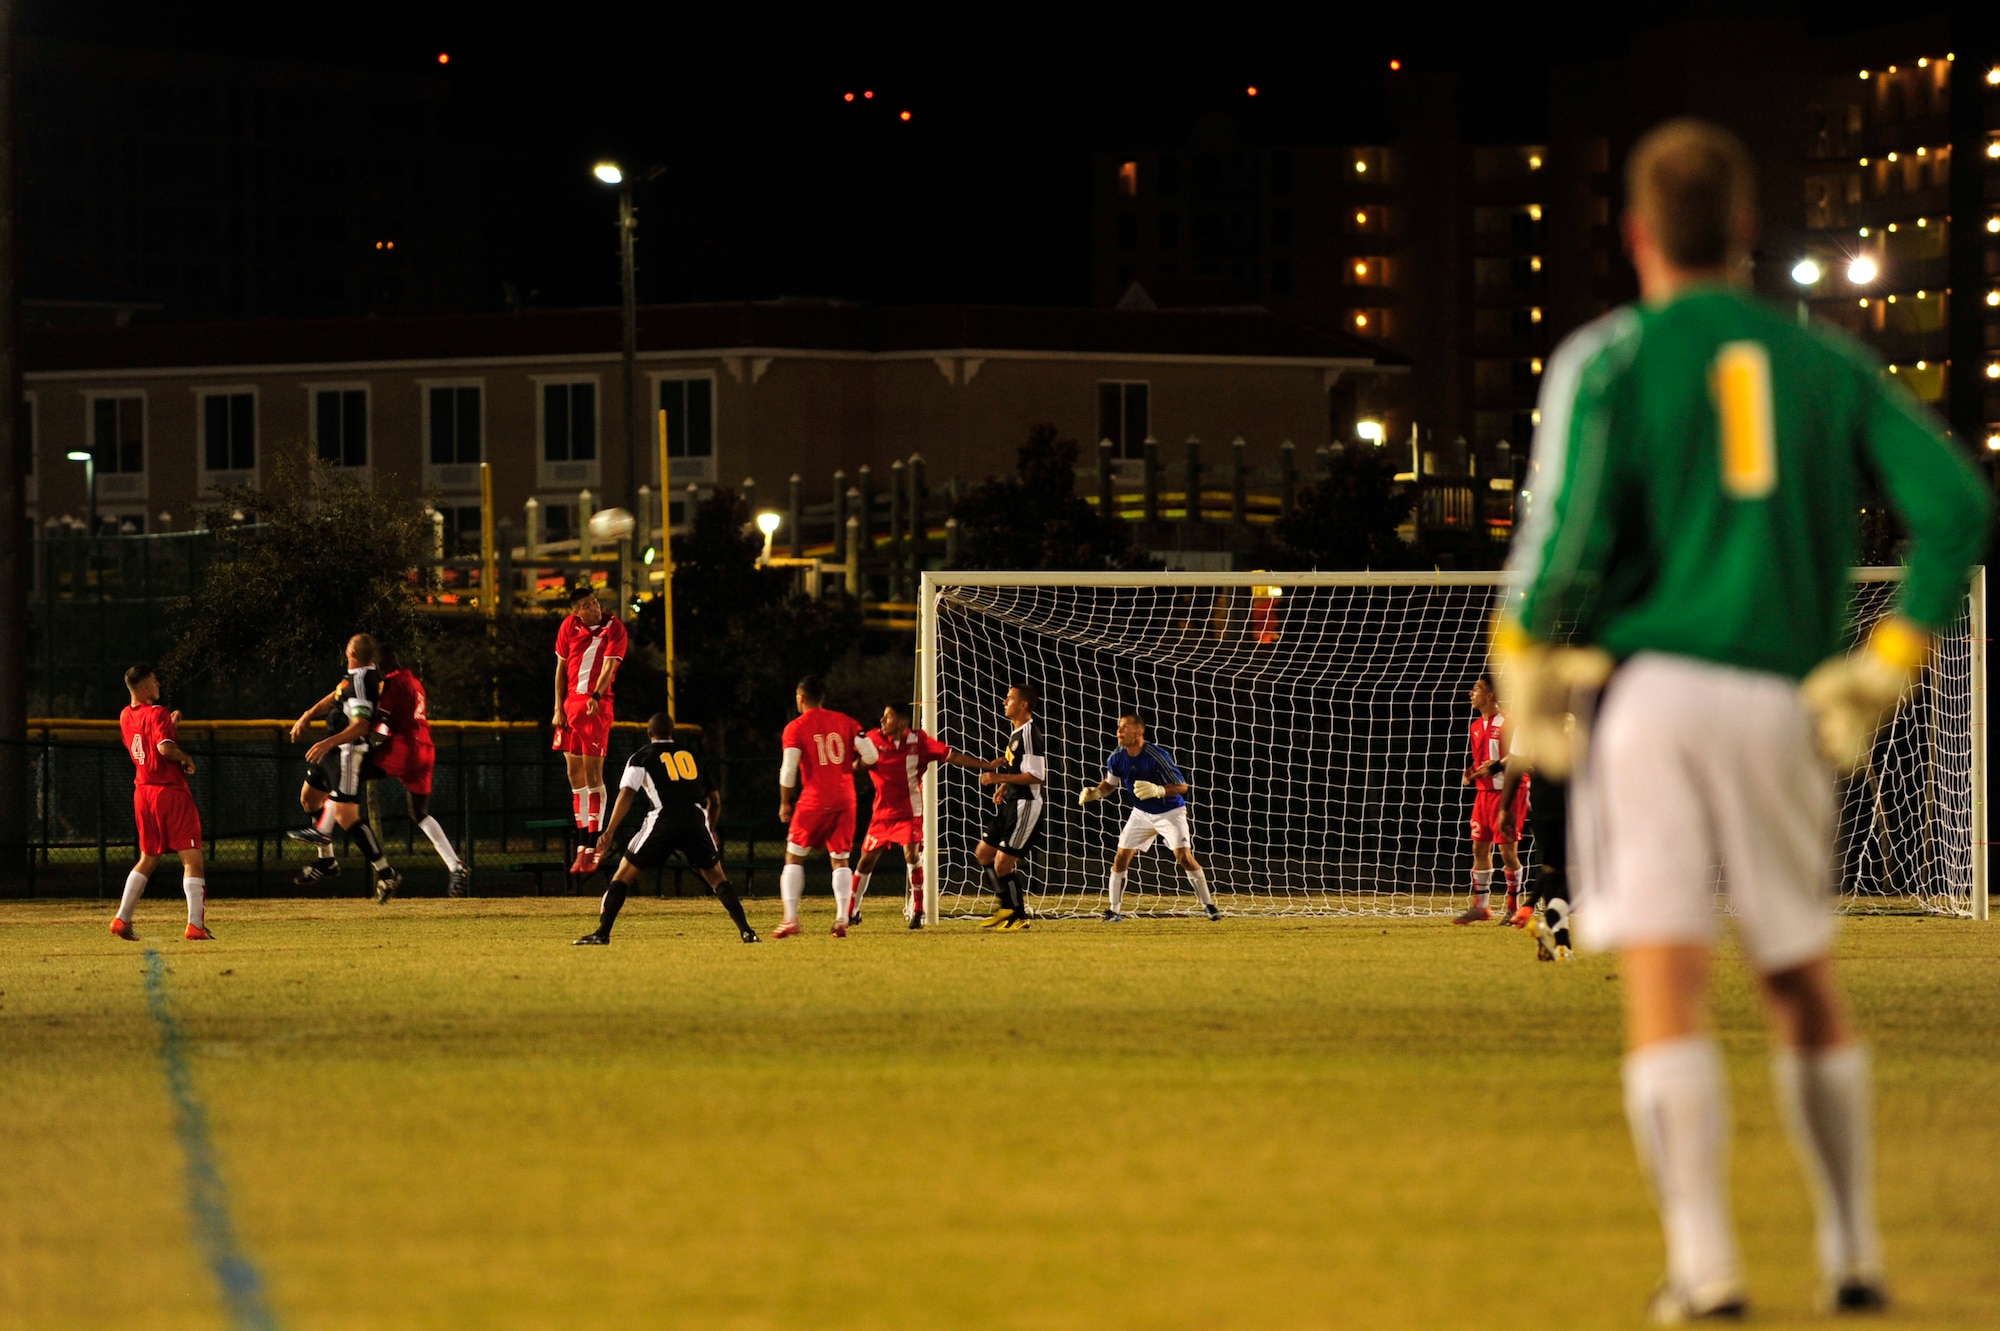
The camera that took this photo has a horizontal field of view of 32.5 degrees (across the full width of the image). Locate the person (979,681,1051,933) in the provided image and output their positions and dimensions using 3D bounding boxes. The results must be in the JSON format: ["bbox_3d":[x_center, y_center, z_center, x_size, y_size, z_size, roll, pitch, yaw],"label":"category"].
[{"bbox_3d":[0.153,1.451,34.698,0.768,2.390,0.819,0,-2,3],"label":"person"}]

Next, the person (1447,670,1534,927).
[{"bbox_3d":[5.161,1.459,35.238,1.027,2.820,0.932,0,0,-5],"label":"person"}]

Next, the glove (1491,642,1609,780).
[{"bbox_3d":[3.198,0.224,20.093,0.767,0.745,0.684,-1,2,7],"label":"glove"}]

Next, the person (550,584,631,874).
[{"bbox_3d":[-4.423,0.596,35.989,1.009,2.847,1.269,0,0,26],"label":"person"}]

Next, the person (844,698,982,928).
[{"bbox_3d":[-0.849,1.514,34.452,1.165,2.346,1.158,0,-1,-5],"label":"person"}]

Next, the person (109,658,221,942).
[{"bbox_3d":[-8.053,1.288,32.739,1.105,2.845,1.532,0,0,39],"label":"person"}]

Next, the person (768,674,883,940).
[{"bbox_3d":[-1.661,1.361,33.093,1.102,2.412,1.042,-1,-2,-3],"label":"person"}]
